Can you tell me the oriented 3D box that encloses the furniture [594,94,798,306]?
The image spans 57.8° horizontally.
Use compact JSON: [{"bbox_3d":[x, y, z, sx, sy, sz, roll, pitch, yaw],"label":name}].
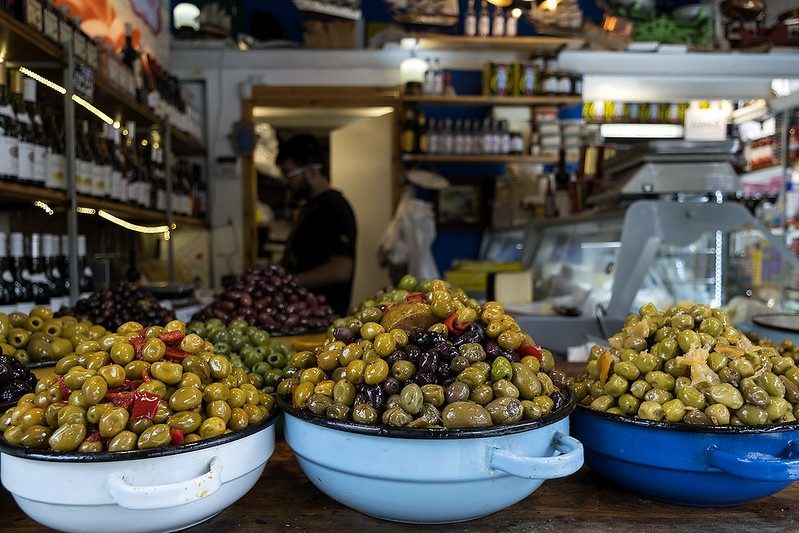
[{"bbox_3d":[1.566,-0.168,3.630,1.102,1.000,0.674,-1,-1,3],"label":"furniture"}]
